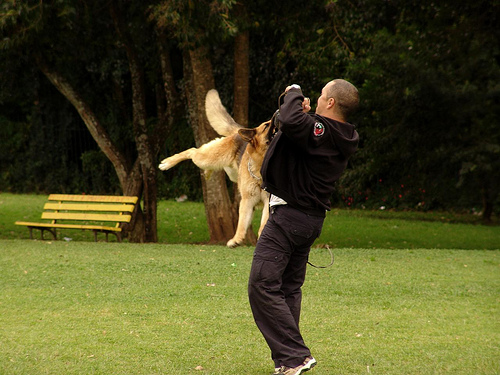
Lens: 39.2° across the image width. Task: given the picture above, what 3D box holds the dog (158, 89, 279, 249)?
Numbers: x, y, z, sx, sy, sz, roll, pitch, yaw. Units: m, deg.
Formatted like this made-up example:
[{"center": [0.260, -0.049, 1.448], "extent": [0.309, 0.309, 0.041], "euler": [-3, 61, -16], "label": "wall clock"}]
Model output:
[{"center": [-0.220, -0.470, 11.613], "extent": [1.242, 2.349, 3.048], "euler": [13, 11, -31], "label": "dog"}]
